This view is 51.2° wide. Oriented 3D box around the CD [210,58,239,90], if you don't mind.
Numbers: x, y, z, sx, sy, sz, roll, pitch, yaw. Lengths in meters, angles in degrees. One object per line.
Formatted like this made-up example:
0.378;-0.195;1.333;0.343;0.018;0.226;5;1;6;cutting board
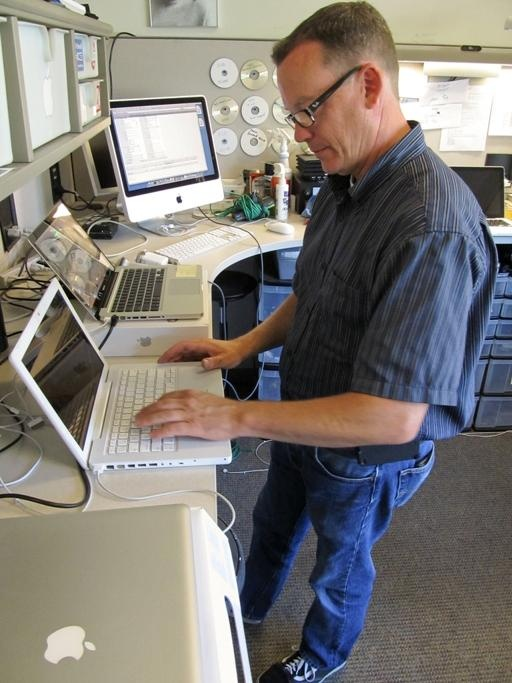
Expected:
-0.144;-1.214;2.402;0.115;0.107;0.014;8;35;-9;CD

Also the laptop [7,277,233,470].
-0.174;0.121;1.034;0.401;0.268;0.430;-4;30;-5;laptop

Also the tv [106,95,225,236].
-0.357;-0.700;2.080;0.196;0.478;0.528;25;35;28;tv

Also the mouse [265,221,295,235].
0.098;-0.462;2.122;0.108;0.036;0.061;21;33;38;mouse

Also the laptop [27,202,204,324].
-0.333;-0.205;1.388;0.372;0.222;0.327;-3;38;-6;laptop

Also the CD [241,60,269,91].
-0.005;-1.205;2.421;0.109;0.102;0.105;10;25;-5;CD

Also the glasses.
0.107;-0.396;0.839;0.120;0.032;0.119;-28;0;36;glasses
